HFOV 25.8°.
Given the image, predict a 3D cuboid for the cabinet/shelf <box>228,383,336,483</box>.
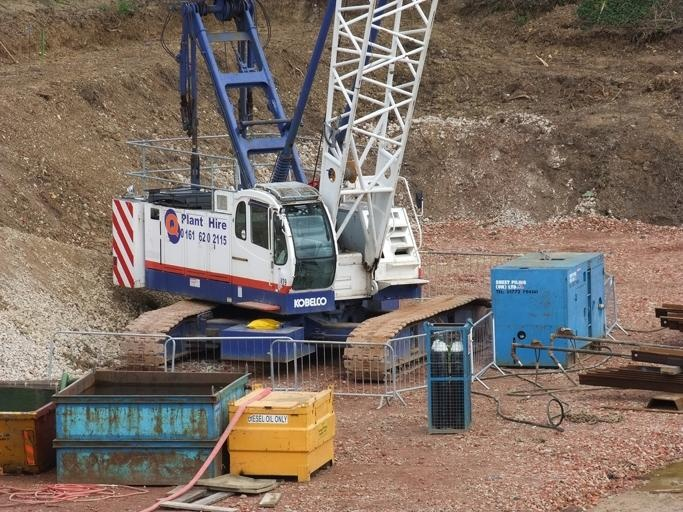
[{"bbox_3d":[-0.911,2.936,25.119,1.567,1.143,1.533,1,5,15],"label":"cabinet/shelf"}]
